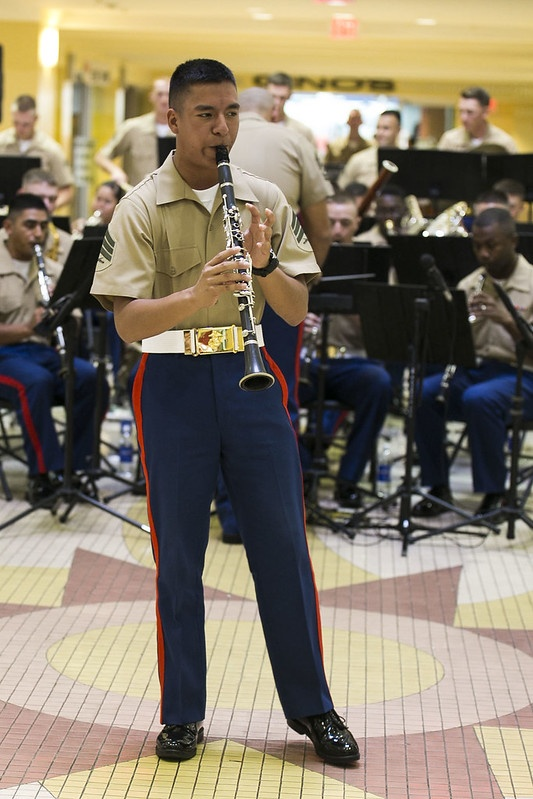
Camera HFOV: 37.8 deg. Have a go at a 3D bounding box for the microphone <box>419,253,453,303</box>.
[{"bbox_3d":[0.664,-0.472,3.005,0.116,0.187,0.467,3,4,12],"label":"microphone"}]

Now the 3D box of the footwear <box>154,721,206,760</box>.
[{"bbox_3d":[-0.170,0.642,1.464,0.042,0.048,0.114,1,-5,8],"label":"footwear"}]

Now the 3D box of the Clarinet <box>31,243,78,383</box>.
[{"bbox_3d":[-1.014,-0.527,3.761,0.188,0.152,1.064,-4,51,-13],"label":"Clarinet"}]

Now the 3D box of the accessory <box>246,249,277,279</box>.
[{"bbox_3d":[-0.007,-0.228,1.339,0.018,0.045,0.041,38,52,6],"label":"accessory"}]

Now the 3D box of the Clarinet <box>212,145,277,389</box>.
[{"bbox_3d":[-0.054,-0.233,1.268,0.073,0.434,0.077,11,-30,-34],"label":"Clarinet"}]

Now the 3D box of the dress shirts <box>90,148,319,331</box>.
[{"bbox_3d":[-0.107,-0.291,1.421,0.404,0.319,0.171,-8,27,-17],"label":"dress shirts"}]
